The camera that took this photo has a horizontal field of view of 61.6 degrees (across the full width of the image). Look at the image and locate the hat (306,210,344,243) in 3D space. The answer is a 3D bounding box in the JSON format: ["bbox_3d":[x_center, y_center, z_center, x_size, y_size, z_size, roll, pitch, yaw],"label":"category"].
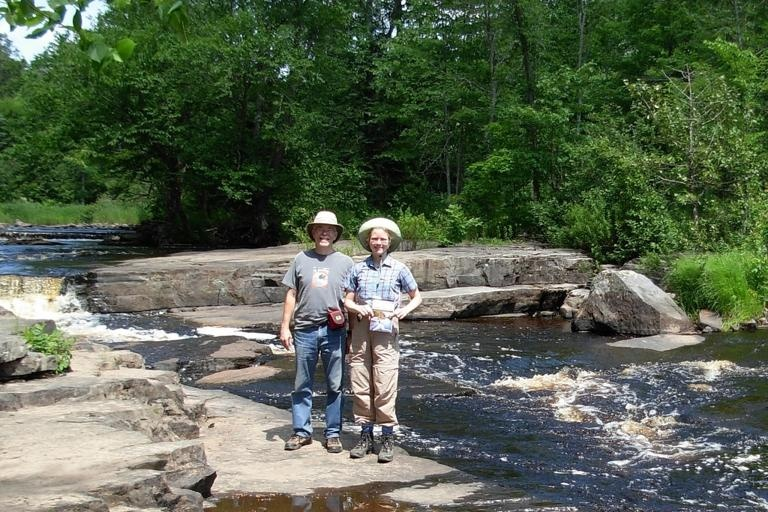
[{"bbox_3d":[-0.745,-0.462,8.283,0.591,0.261,0.584,2,-19,-3],"label":"hat"}]

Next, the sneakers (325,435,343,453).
[{"bbox_3d":[-0.602,2.315,7.973,0.216,0.208,0.240,0,9,-4],"label":"sneakers"}]

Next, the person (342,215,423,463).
[{"bbox_3d":[-0.047,1.017,7.880,0.853,2.931,0.918,0,11,-3],"label":"person"}]

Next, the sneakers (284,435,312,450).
[{"bbox_3d":[-1.047,2.301,7.978,0.372,0.132,0.141,2,3,-42],"label":"sneakers"}]

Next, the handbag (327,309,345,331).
[{"bbox_3d":[-0.581,0.782,7.867,0.333,0.235,0.175,-3,-6,-37],"label":"handbag"}]
